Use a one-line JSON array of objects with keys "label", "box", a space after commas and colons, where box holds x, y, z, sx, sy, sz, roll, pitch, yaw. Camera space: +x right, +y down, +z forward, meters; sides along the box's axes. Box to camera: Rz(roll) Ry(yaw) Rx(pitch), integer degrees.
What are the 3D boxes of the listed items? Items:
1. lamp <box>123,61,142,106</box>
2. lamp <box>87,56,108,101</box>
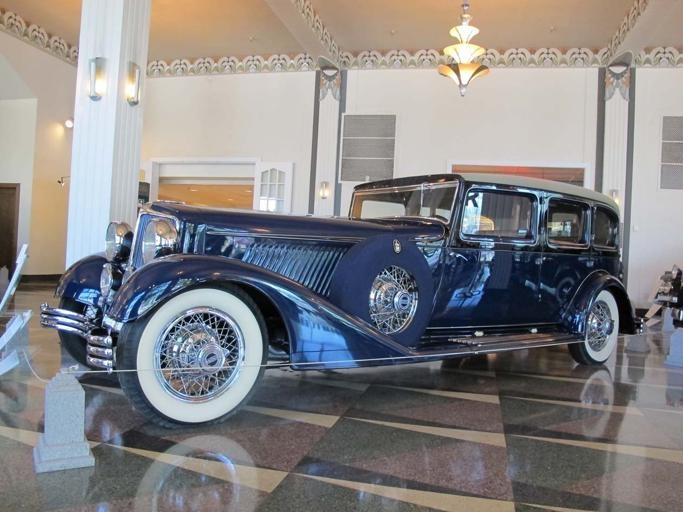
[{"label": "lamp", "box": [-2.852, -2.355, 6.285, 0.070, 0.430, 0.219, 2, 1, 24]}, {"label": "lamp", "box": [-3.208, -2.353, 6.046, 0.197, 0.380, 0.081, 1, 0, -27]}]
